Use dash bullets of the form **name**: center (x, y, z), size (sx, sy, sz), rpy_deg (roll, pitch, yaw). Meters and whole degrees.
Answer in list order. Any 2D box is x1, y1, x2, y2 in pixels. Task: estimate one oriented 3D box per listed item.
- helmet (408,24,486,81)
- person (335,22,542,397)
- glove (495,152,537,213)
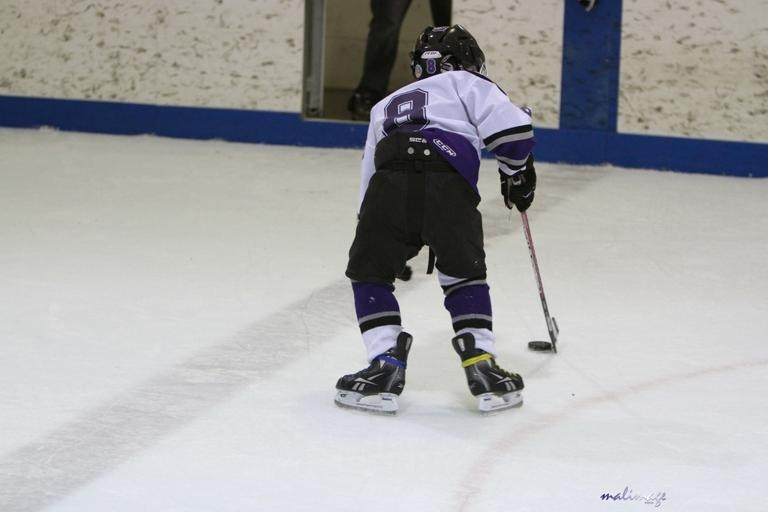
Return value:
- **helmet**: center (0.248, -0.744, 3.215), size (0.209, 0.221, 0.255), rpy_deg (2, 1, 26)
- **person**: center (0.199, -0.084, 3.003), size (0.628, 1.149, 0.350), rpy_deg (3, 3, 8)
- **glove**: center (0.480, -0.271, 3.080), size (0.151, 0.188, 0.082), rpy_deg (-3, -2, 31)
